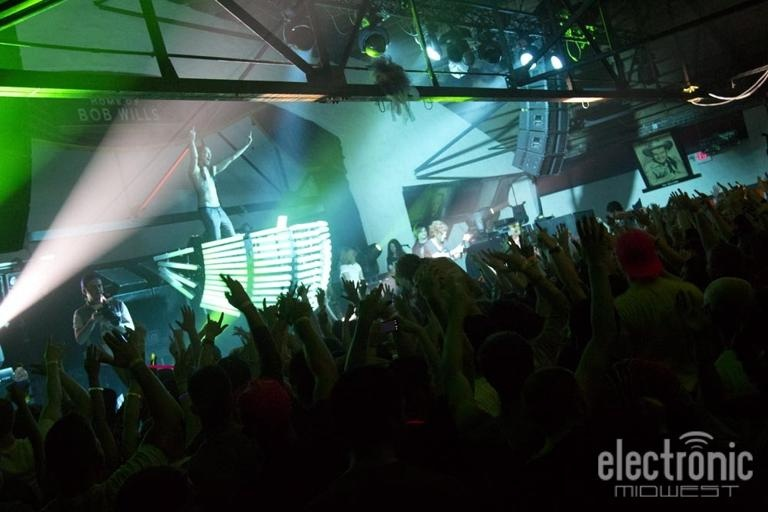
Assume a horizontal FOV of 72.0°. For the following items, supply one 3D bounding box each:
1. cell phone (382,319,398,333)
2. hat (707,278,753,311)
[{"bbox_3d":[0.052,0.530,3.997,0.097,0.104,0.023,-2,-18,11],"label":"cell phone"},{"bbox_3d":[2.514,0.257,3.858,0.276,0.213,0.221,-4,5,3],"label":"hat"}]
